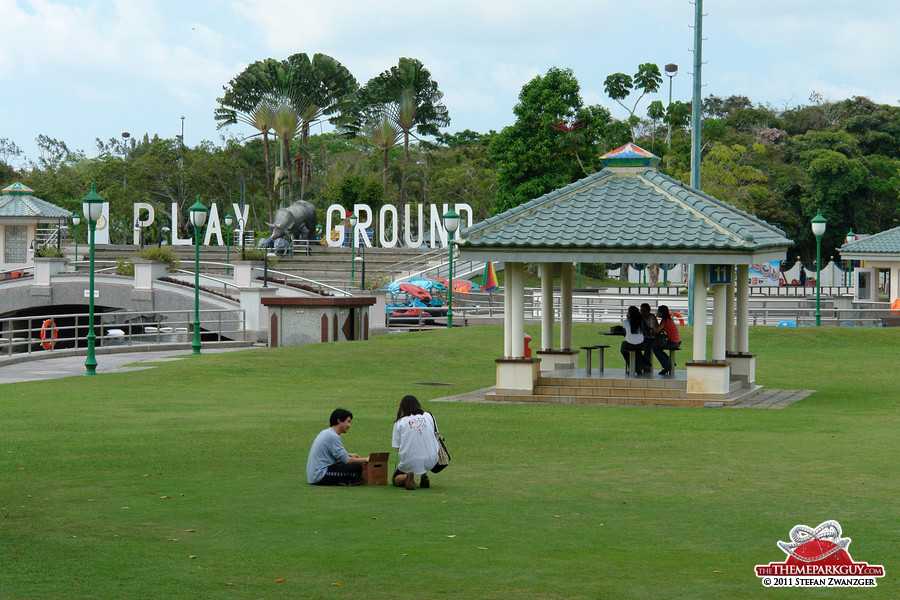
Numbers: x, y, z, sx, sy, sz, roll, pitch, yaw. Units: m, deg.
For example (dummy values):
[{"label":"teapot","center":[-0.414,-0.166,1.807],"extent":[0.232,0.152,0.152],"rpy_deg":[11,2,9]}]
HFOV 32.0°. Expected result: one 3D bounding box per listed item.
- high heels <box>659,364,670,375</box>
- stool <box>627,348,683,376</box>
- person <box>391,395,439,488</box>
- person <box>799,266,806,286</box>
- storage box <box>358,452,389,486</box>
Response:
[{"label":"high heels","center":[6.162,2.016,45.545],"extent":[0.336,0.211,0.178],"rpy_deg":[2,2,40]},{"label":"stool","center":[5.998,1.805,45.818],"extent":[1.712,0.798,0.898],"rpy_deg":[1,-6,1]},{"label":"person","center":[-0.772,3.052,33.974],"extent":[1.035,1.950,0.487],"rpy_deg":[-1,12,-5]},{"label":"person","center":[24.740,-1.883,110.401],"extent":[0.493,1.197,1.445],"rpy_deg":[3,12,11]},{"label":"storage box","center":[-1.861,3.675,34.515],"extent":[0.711,0.850,0.626],"rpy_deg":[1,-3,-15]}]
